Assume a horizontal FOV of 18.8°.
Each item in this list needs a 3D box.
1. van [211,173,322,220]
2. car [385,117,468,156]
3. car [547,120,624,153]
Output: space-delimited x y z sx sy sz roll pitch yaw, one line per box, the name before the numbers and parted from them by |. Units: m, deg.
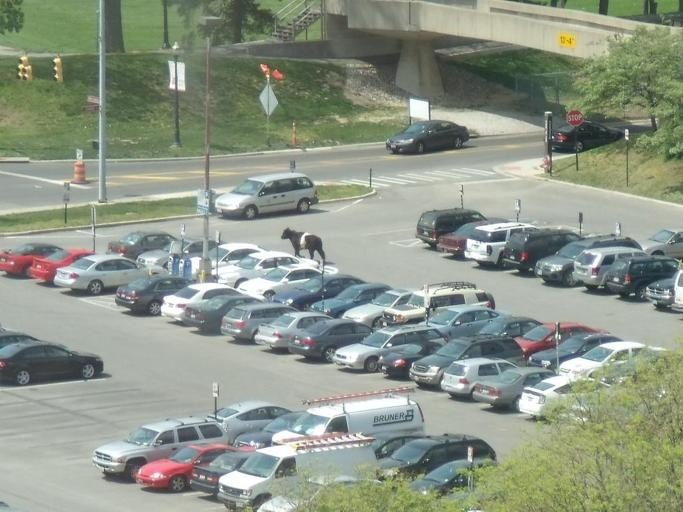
van | -4.396 -3.266 120.409 5.666 2.072 2.525 -7 12 -26
car | 5.688 -7.391 134.843 4.953 2.017 1.711 -5 9 -23
car | 15.456 -7.212 130.990 4.472 1.450 2.047 -12 18 -23
